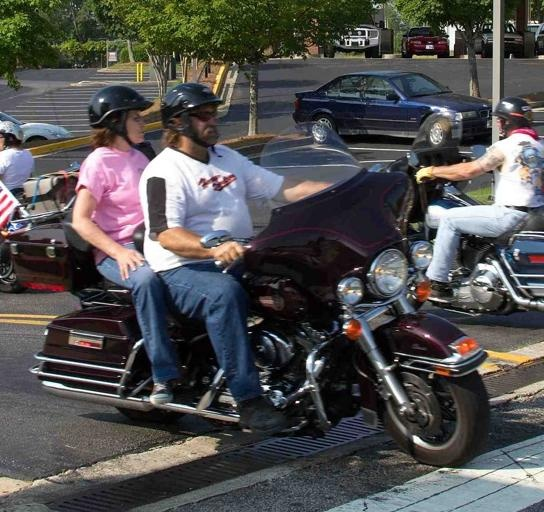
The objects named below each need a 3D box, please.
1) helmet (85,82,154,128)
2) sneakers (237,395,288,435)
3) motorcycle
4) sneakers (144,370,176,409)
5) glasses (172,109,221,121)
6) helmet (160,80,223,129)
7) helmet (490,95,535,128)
[{"bbox_3d":[-0.907,-0.970,3.770,0.482,0.234,0.334,-4,4,30],"label":"helmet"},{"bbox_3d":[-0.048,0.748,2.725,0.299,0.131,0.155,-1,5,23],"label":"sneakers"},{"bbox_3d":[-0.305,0.219,3.225,2.630,1.568,0.793,-3,3,32],"label":"motorcycle"},{"bbox_3d":[-0.550,0.697,2.944,0.091,0.080,0.213,0,-7,7],"label":"sneakers"},{"bbox_3d":[-0.381,-0.736,3.017,0.158,0.024,0.096,-1,3,8],"label":"glasses"},{"bbox_3d":[-0.433,-0.790,3.064,0.352,0.154,0.229,-4,6,31],"label":"helmet"},{"bbox_3d":[2.329,-1.404,5.601,0.505,0.258,0.300,5,12,3],"label":"helmet"}]
